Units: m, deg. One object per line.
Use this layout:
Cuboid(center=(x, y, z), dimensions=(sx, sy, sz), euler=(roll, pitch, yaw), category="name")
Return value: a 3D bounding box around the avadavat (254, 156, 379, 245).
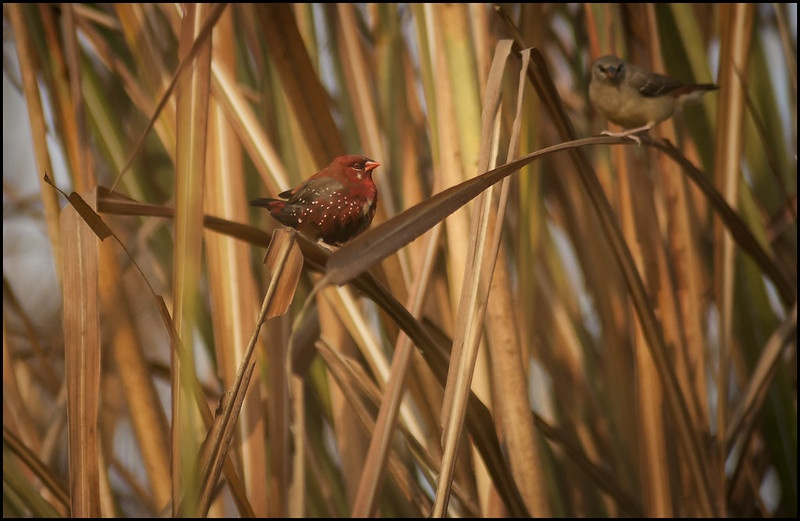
Cuboid(center=(-0.238, -0.158, 3.190), dimensions=(0.336, 0.274, 0.202), euler=(3, -11, -18), category="avadavat")
